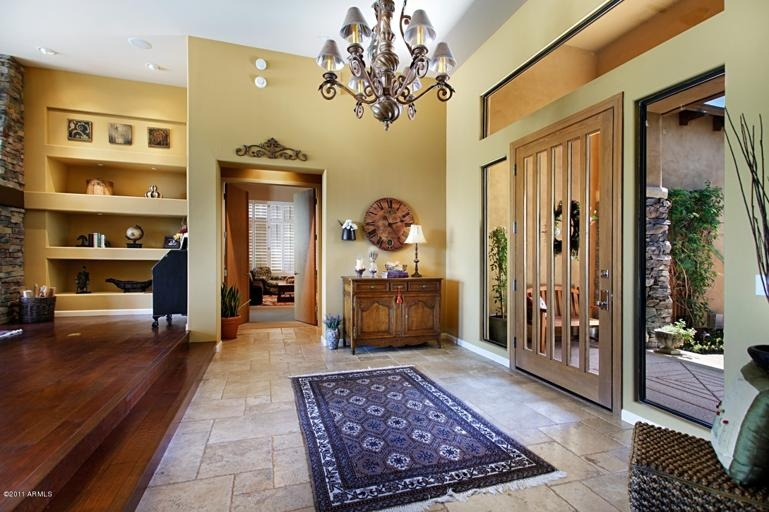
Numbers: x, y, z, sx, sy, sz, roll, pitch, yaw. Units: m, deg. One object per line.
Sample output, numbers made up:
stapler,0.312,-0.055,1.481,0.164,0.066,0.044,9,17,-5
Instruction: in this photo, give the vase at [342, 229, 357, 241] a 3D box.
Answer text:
vase,-0.556,-0.330,7.348,0.175,0.173,0.178,0,-2,11

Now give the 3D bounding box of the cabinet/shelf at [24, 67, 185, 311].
cabinet/shelf,-4.998,-1.161,8.443,2.544,4.165,1.282,-4,15,-11

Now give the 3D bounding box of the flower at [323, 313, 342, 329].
flower,-0.813,1.032,7.346,0.257,0.201,0.303,1,15,5

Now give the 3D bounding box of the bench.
bench,2.128,0.748,5.617,0.885,0.864,0.592,0,-4,-12

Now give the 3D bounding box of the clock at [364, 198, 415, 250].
clock,0.046,-0.509,7.547,0.808,0.822,0.114,0,-4,-12

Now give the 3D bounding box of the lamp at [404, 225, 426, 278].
lamp,0.496,-0.083,7.429,0.294,0.855,0.724,0,15,3

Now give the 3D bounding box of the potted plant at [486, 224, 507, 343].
potted plant,1.675,0.392,6.988,0.315,1.582,0.829,2,15,12

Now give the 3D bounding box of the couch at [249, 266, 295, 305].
couch,-2.861,0.744,11.981,0.926,0.833,1.308,-1,1,-13

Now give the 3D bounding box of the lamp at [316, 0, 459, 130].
lamp,-0.060,-2.351,5.543,1.422,1.656,1.965,-3,15,-7

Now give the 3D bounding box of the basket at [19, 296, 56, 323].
basket,-5.442,0.840,7.377,0.420,0.309,0.348,2,-4,-29

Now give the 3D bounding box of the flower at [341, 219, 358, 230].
flower,-0.540,-0.493,7.414,0.256,0.159,0.155,-4,15,-12
